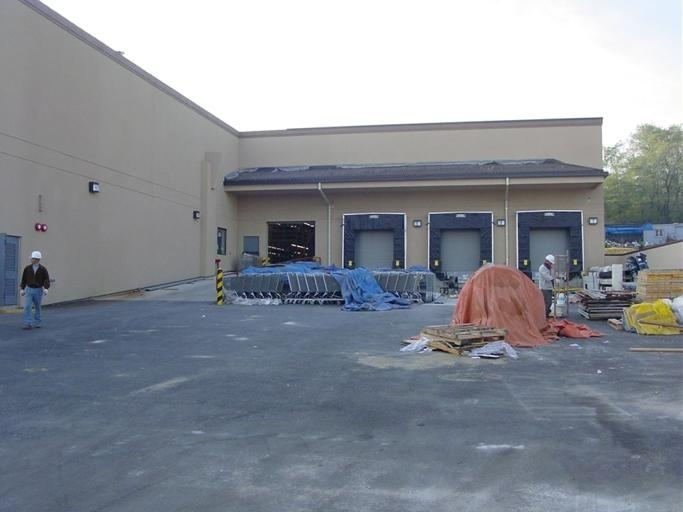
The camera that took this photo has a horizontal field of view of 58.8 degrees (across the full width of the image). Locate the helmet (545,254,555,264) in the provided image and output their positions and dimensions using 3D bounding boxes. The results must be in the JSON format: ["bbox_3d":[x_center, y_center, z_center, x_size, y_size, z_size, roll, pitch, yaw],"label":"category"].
[{"bbox_3d":[6.892,0.090,19.781,0.331,0.249,0.465,14,21,32],"label":"helmet"}]

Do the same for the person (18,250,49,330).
[{"bbox_3d":[-8.452,0.912,16.486,0.685,1.992,0.991,-4,8,-28],"label":"person"}]

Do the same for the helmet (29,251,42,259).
[{"bbox_3d":[-9.298,-0.050,18.121,0.277,0.218,0.406,1,1,-30],"label":"helmet"}]
